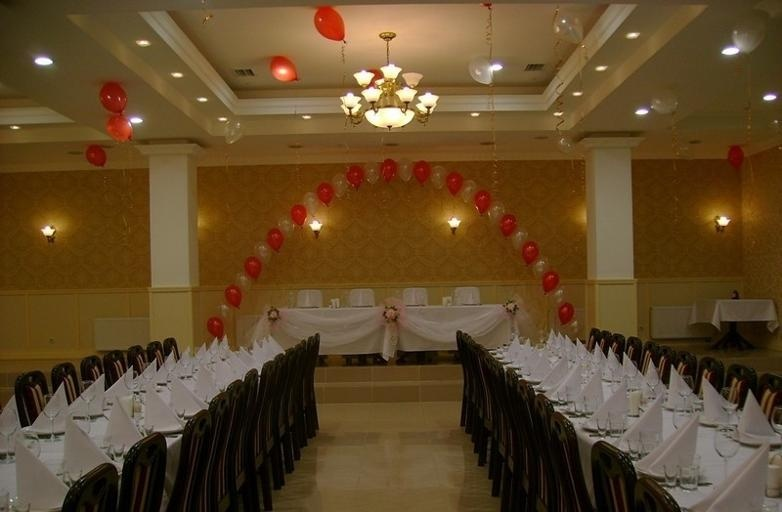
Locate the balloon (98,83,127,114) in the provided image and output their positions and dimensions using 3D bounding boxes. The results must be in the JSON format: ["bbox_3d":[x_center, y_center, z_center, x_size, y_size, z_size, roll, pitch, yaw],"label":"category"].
[{"bbox_3d":[-3.836,-2.145,8.138,0.378,0.411,0.521,0,23,-17],"label":"balloon"}]

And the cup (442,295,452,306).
[{"bbox_3d":[1.088,0.881,11.719,0.181,0.187,0.180,-1,-4,0],"label":"cup"}]

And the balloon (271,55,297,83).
[{"bbox_3d":[-1.551,-2.682,8.490,0.326,0.347,0.356,-2,8,-7],"label":"balloon"}]

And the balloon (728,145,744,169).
[{"bbox_3d":[5.067,-1.493,8.721,0.199,0.367,0.272,-4,-13,24],"label":"balloon"}]

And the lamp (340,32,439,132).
[{"bbox_3d":[-0.010,-2.497,8.525,1.395,1.394,1.445,-1,2,9],"label":"lamp"}]

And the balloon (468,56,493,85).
[{"bbox_3d":[1.209,-2.441,8.002,0.339,0.296,0.397,0,-6,22],"label":"balloon"}]

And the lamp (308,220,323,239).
[{"bbox_3d":[-1.590,-0.546,12.550,0.349,0.408,0.355,1,-1,43],"label":"lamp"}]

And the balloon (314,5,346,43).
[{"bbox_3d":[-0.716,-2.816,7.146,0.313,0.447,0.427,2,9,22],"label":"balloon"}]

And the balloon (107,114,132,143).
[{"bbox_3d":[-3.756,-1.766,8.201,0.259,0.350,0.445,-4,8,-18],"label":"balloon"}]

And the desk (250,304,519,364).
[{"bbox_3d":[-0.062,1.345,10.960,4.973,1.188,0.938,-1,-1,-1],"label":"desk"}]

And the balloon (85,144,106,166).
[{"bbox_3d":[-4.958,-1.679,9.948,0.252,0.306,0.256,-3,8,-14],"label":"balloon"}]

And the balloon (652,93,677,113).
[{"bbox_3d":[3.779,-2.091,8.179,0.316,0.239,0.335,0,8,11],"label":"balloon"}]

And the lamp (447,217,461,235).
[{"bbox_3d":[1.369,-0.709,12.798,0.324,0.315,0.344,0,-18,2],"label":"lamp"}]

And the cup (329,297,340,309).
[{"bbox_3d":[-1.129,0.937,11.829,0.203,0.221,0.213,-1,-8,0],"label":"cup"}]

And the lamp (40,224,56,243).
[{"bbox_3d":[-7.512,-0.481,12.930,0.338,0.381,0.176,-1,8,4],"label":"lamp"}]

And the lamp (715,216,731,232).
[{"bbox_3d":[7.216,-0.680,12.886,0.315,0.250,0.323,-4,-4,38],"label":"lamp"}]
